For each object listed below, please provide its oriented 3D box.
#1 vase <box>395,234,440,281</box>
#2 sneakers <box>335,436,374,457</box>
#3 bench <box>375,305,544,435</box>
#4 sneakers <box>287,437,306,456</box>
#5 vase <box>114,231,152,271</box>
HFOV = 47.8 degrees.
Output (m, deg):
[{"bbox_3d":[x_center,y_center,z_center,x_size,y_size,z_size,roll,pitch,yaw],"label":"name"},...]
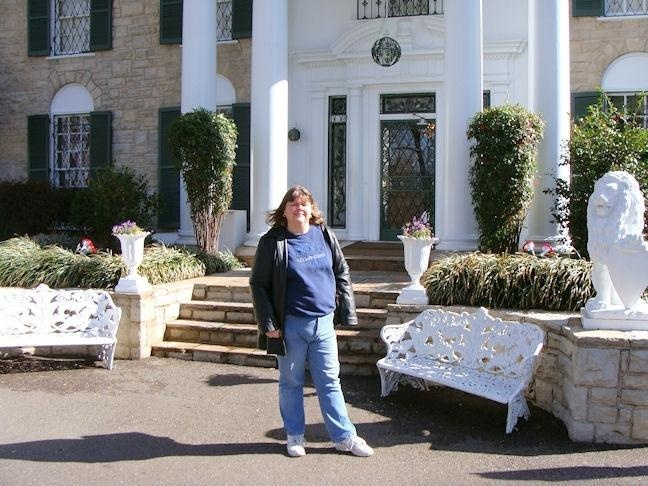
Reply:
[{"bbox_3d":[1.236,0.201,9.558,0.506,0.609,0.544,1,-2,-1],"label":"vase"},{"bbox_3d":[0.321,2.056,7.462,0.345,0.171,0.184,0,5,18],"label":"sneakers"},{"bbox_3d":[1.513,1.363,8.328,0.822,1.220,1.987,-2,5,-42],"label":"bench"},{"bbox_3d":[-0.289,2.055,7.384,0.096,0.203,0.274,6,-16,-28],"label":"sneakers"},{"bbox_3d":[-2.671,0.102,10.265,0.458,0.570,0.481,-3,4,-21],"label":"vase"}]
